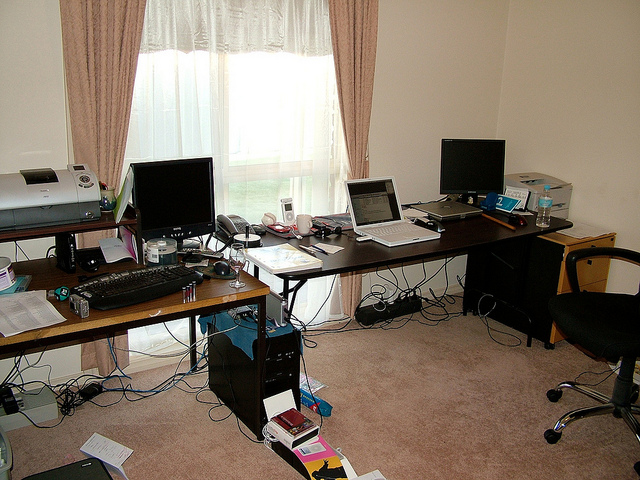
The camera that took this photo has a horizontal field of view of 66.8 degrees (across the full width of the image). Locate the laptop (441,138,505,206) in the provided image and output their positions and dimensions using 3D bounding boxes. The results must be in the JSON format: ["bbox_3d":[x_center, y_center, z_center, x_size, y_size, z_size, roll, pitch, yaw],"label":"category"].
[{"bbox_3d":[1.260,-0.577,4.011,0.553,0.506,0.138,-6,16,-10],"label":"laptop"}]

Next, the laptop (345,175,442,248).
[{"bbox_3d":[0.482,-0.217,3.352,0.524,0.372,0.551,-11,19,-39],"label":"laptop"}]

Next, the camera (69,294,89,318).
[{"bbox_3d":[-1.156,0.313,2.316,0.150,0.083,0.042,10,21,38],"label":"camera"}]

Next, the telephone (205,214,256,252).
[{"bbox_3d":[-0.591,-0.097,3.222,0.284,0.106,0.240,-6,16,-45],"label":"telephone"}]

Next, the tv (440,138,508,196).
[{"bbox_3d":[1.260,-0.599,4.009,0.430,0.408,0.079,-1,9,-6],"label":"tv"}]

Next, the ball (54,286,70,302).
[{"bbox_3d":[-1.292,0.270,2.430,0.070,0.068,0.058,-14,19,-31],"label":"ball"}]

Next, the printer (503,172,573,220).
[{"bbox_3d":[1.793,-0.433,4.073,0.411,0.375,0.433,-11,21,-29],"label":"printer"}]

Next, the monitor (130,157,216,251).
[{"bbox_3d":[-0.865,-0.214,2.939,0.491,0.545,0.052,-14,19,-31],"label":"monitor"}]

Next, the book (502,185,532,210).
[{"bbox_3d":[1.596,-0.377,3.990,0.175,0.225,0.222,8,5,-30],"label":"book"}]

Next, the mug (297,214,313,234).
[{"bbox_3d":[-0.107,-0.100,3.318,0.089,0.114,0.119,1,9,-3],"label":"mug"}]

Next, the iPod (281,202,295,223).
[{"bbox_3d":[-0.220,-0.194,3.383,0.085,0.137,0.064,-9,17,-18],"label":"iPod"}]

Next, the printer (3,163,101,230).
[{"bbox_3d":[-1.434,-0.243,2.587,0.499,0.329,0.330,-11,26,-42],"label":"printer"}]

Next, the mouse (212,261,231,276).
[{"bbox_3d":[-0.548,0.153,2.692,0.080,0.072,0.061,0,23,-12],"label":"mouse"}]
